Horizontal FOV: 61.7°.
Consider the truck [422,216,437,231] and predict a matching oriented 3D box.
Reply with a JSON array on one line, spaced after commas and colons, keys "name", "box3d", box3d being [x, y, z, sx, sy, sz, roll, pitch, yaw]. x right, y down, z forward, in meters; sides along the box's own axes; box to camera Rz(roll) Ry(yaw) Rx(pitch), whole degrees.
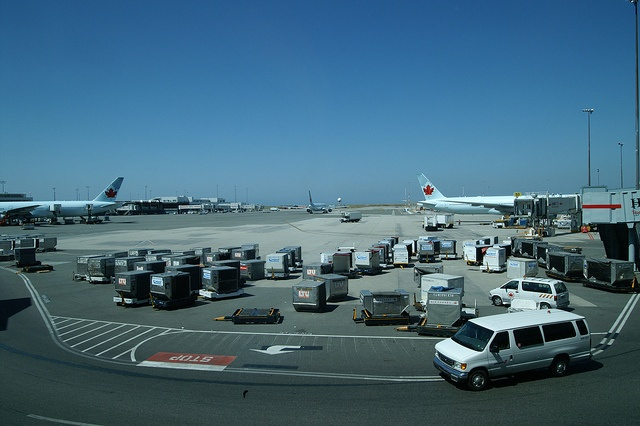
[{"name": "truck", "box3d": [19.049, 2.329, 92.812, 2.412, 2.336, 3.750, 1, 1, 10]}]

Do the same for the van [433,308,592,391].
[{"name": "van", "box3d": [11.225, 7.851, 31.816, 8.773, 2.869, 4.044, -3, 0, -13]}]

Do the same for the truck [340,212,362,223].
[{"name": "truck", "box3d": [7.064, 1.324, 121.857, 3.971, 1.569, 2.429, -1, 7, 11]}]

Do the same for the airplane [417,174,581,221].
[{"name": "airplane", "box3d": [28.084, -3.665, 103.553, 16.996, 7.298, 39.424, -3, 1, 10]}]

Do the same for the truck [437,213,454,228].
[{"name": "truck", "box3d": [22.557, 1.495, 95.906, 2.089, 1.797, 3.430, -1, -2, 21]}]

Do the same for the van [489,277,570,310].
[{"name": "van", "box3d": [15.439, 5.891, 39.390, 4.497, 1.698, 2.456, 4, 4, 35]}]
